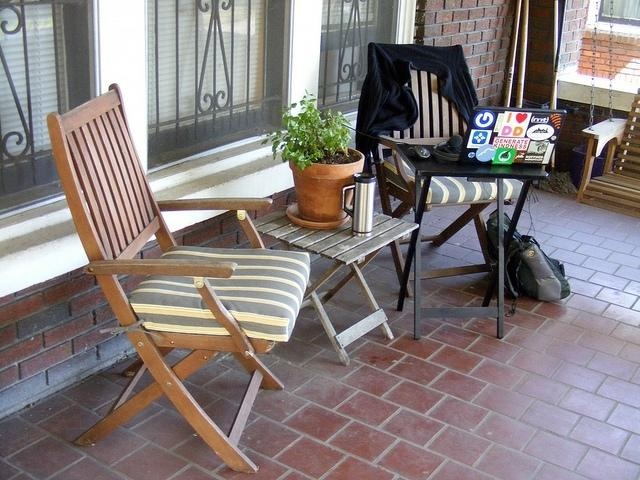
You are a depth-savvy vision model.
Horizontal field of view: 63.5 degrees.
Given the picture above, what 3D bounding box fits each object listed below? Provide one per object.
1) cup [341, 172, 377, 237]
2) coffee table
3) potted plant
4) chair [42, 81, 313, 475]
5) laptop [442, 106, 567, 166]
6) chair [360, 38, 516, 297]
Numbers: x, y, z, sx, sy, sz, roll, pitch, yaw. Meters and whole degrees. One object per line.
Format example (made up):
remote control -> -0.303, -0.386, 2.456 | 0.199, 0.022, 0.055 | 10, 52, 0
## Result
cup -> 0.207, -0.199, 2.761 | 0.167, 0.314, 0.221 | 1, 29, 6
coffee table -> 0.111, 0.175, 3.159 | 0.981, 0.759, 0.954 | 31, 43, 31
potted plant -> 0.012, -0.499, 3.169 | 0.906, 0.927, 0.852 | -4, 27, -6
chair -> -0.564, 0.068, 2.438 | 1.548, 1.491, 1.239 | 4, 23, 4
laptop -> 1.008, -0.546, 2.735 | 0.499, 0.320, 0.061 | -2, 31, -1
chair -> 0.942, -0.526, 3.636 | 1.345, 1.546, 1.124 | -2, 24, -14
